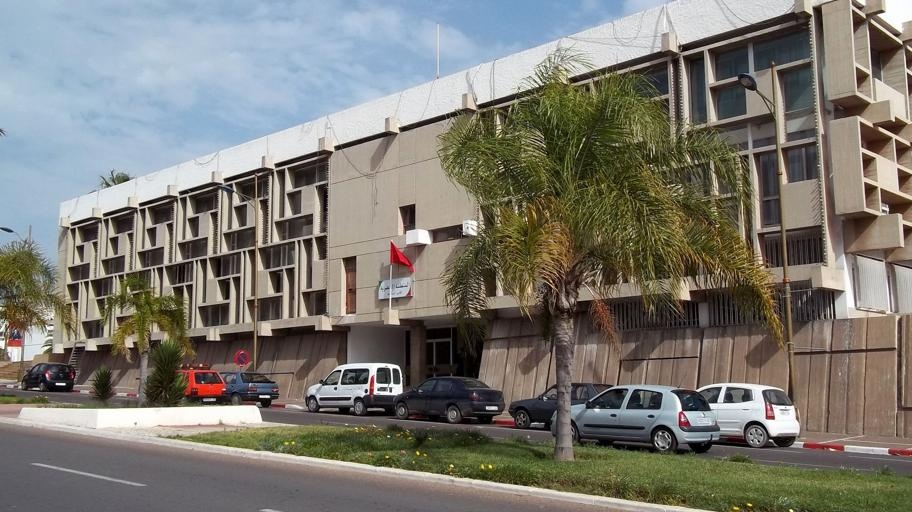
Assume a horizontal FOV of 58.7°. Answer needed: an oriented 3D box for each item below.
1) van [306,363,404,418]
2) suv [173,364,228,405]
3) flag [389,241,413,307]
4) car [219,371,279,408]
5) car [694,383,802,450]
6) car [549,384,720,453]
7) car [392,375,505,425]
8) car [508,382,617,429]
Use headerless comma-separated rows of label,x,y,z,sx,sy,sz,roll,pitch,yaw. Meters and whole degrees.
van,-5.770,7.579,46.025,4.850,2.138,2.770,-3,-10,41
suv,-14.826,7.634,47.996,2.177,1.831,3.734,3,-4,-35
flag,-3.768,1.148,51.459,1.297,4.116,1.781,12,-21,-39
car,-12.617,8.145,49.631,3.054,2.237,1.505,10,-19,-33
car,12.712,6.835,35.152,6.103,2.463,2.865,-7,-10,39
car,7.657,6.642,33.624,5.783,2.149,3.151,1,-6,32
car,-0.491,7.465,42.415,5.074,1.755,2.472,-2,-8,40
car,4.816,7.175,38.557,4.749,2.130,2.415,-4,-9,33
